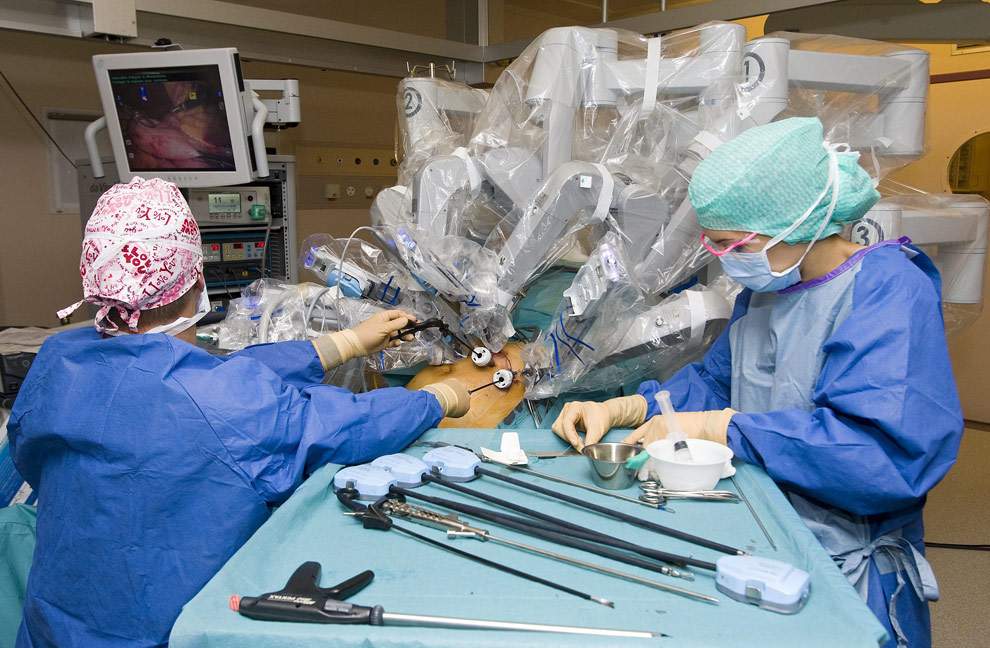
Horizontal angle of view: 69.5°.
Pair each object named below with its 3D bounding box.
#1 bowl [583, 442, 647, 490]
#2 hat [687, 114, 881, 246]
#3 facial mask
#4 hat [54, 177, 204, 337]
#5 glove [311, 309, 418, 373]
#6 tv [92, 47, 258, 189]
[{"bbox_3d":[0.294,0.350,1.760,0.157,0.084,0.159,1,8,0],"label":"bowl"},{"bbox_3d":[0.735,-0.383,1.848,0.392,0.264,0.299,-9,17,5],"label":"hat"},{"bbox_3d":[0.709,-0.224,1.775,0.147,0.384,0.287,2,-4,-41],"label":"facial mask"},{"bbox_3d":[-0.925,-0.218,1.934,0.288,0.381,0.389,19,32,18],"label":"hat"},{"bbox_3d":[-0.355,0.027,2.327,0.442,0.140,0.122,-22,1,-36],"label":"glove"},{"bbox_3d":[-1.393,-0.892,3.097,0.632,0.570,0.102,4,16,7],"label":"tv"}]
